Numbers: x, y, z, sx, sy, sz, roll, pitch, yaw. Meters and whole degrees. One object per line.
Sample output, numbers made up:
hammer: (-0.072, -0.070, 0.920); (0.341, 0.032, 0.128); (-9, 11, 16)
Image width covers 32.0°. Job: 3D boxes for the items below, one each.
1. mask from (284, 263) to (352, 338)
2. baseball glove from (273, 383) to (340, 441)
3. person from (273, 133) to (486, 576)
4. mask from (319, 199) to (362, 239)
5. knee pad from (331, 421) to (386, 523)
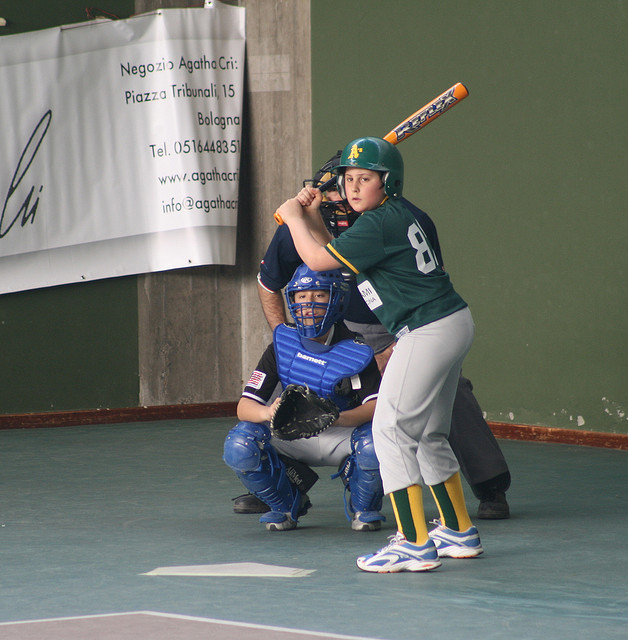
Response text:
mask: (0.007, -0.067, 3.876); (0.266, 0.239, 0.236); (6, 11, 16)
baseball glove: (-0.032, 0.326, 3.842); (0.310, 0.155, 0.112); (11, 27, 2)
person: (0.232, 0.133, 3.657); (0.708, 1.462, 1.035); (0, 16, -2)
mask: (0.095, -0.362, 3.964); (0.119, 0.139, 0.143); (6, 15, 19)
knee pad: (0.174, 0.555, 3.931); (0.191, 0.463, 0.321); (0, 16, -2)
